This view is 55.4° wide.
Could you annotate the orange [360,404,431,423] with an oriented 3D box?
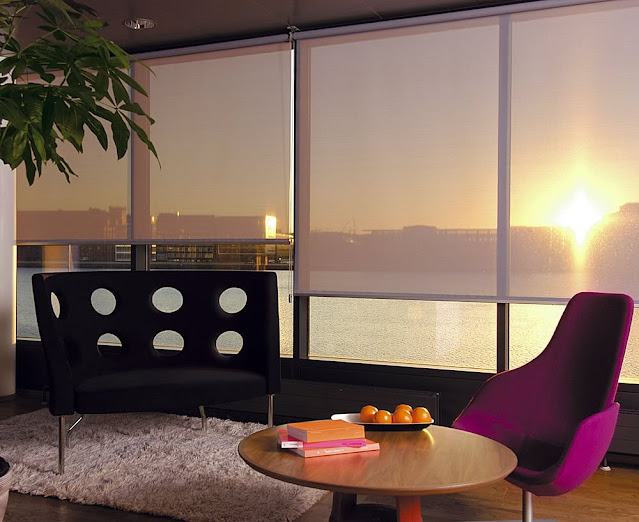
[{"bbox_3d":[0.343,0.683,2.704,0.142,0.048,0.143,-4,-8,34],"label":"orange"}]
